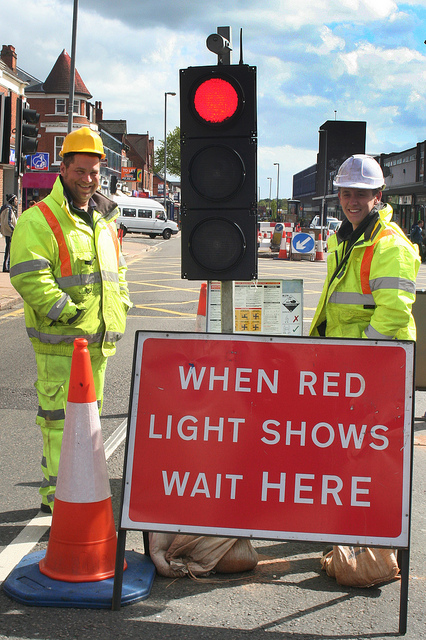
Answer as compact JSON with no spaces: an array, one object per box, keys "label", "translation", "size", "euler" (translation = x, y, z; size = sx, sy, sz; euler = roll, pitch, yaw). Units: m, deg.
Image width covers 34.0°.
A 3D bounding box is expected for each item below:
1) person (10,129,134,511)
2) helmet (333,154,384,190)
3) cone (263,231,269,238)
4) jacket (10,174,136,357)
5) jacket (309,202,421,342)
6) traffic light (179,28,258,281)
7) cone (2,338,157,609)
[{"label":"person","translation":[-0.720,0.032,3.589],"size":[0.366,2.008,0.708],"euler":[4,5,25]},{"label":"helmet","translation":[0.757,-0.763,3.593],"size":[0.243,0.204,0.286],"euler":[3,4,9]},{"label":"cone","translation":[3.352,-5.447,44.318],"size":[0.321,0.621,0.342],"euler":[2,-3,-21]},{"label":"jacket","translation":[-0.714,-0.271,3.550],"size":[0.338,0.925,0.688],"euler":[5,5,30]},{"label":"jacket","translation":[0.762,-0.237,3.441],"size":[0.367,0.706,0.721],"euler":[2,4,-8]},{"label":"traffic light","translation":[0.026,-0.710,3.311],"size":[0.403,1.050,0.199],"euler":[2,5,1]},{"label":"cone","translation":[-0.515,0.669,2.801],"size":[0.486,1.151,0.454],"euler":[-1,5,-23]}]
